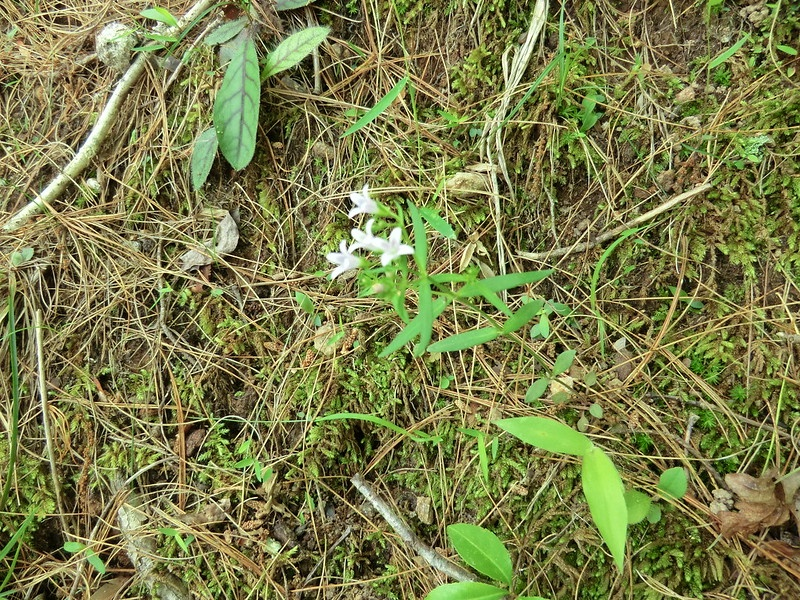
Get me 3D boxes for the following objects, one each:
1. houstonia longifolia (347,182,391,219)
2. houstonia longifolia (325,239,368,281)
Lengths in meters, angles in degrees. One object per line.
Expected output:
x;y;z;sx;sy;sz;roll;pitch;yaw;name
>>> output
-0.166;-0.467;3.641;0.173;0.243;0.254;5;96;10;houstonia longifolia
-0.255;-0.189;3.618;0.175;0.094;0.244;-20;81;15;houstonia longifolia
